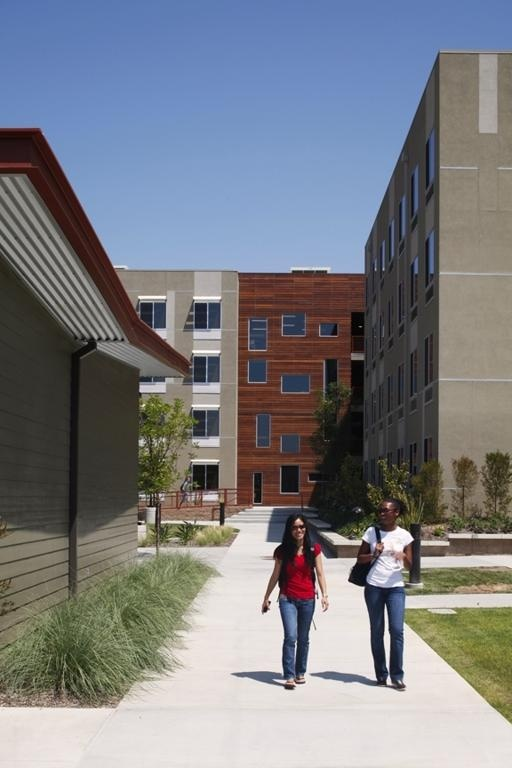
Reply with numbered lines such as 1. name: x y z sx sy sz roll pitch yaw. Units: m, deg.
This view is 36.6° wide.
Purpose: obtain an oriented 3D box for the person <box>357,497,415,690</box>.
1. person: 1.078 1.769 6.615 0.458 1.569 0.713 -1 -8 14

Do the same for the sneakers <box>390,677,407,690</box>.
1. sneakers: 1.175 2.483 6.430 0.113 0.077 0.110 -1 -9 13

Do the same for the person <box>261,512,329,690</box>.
1. person: 0.343 1.905 7.054 0.586 1.434 1.274 1 -9 5
